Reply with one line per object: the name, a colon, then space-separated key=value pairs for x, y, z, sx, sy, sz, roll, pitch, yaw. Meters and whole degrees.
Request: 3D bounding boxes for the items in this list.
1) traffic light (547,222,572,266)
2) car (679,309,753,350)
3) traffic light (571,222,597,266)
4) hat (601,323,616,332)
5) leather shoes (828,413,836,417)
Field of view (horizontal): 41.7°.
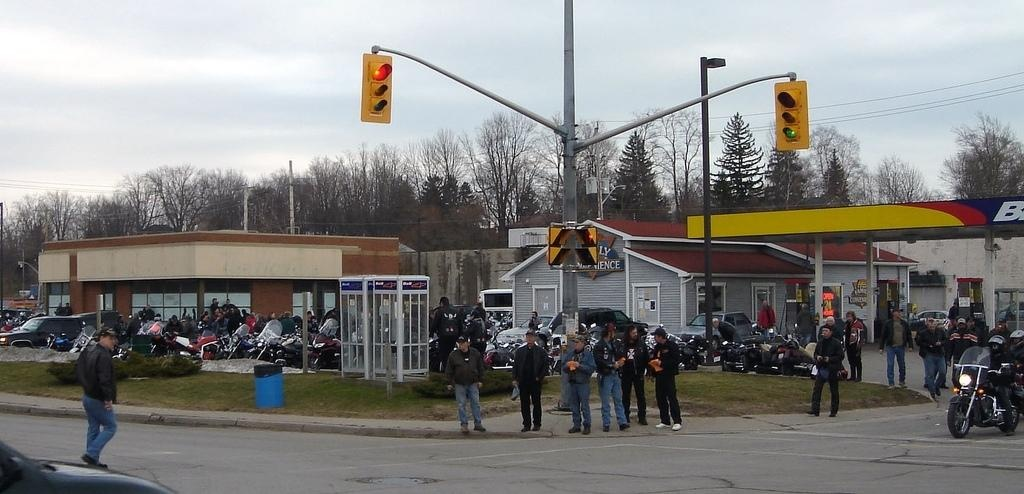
traffic light: x=2.802 y=-0.091 z=80.548 sx=1.210 sy=2.500 sz=0.511 roll=0 pitch=-5 yaw=1
car: x=14.220 y=5.560 z=93.521 sx=5.100 sy=1.498 sz=2.251 roll=3 pitch=-5 yaw=-41
traffic light: x=4.437 y=-0.067 z=80.531 sx=1.346 sy=2.456 sz=0.773 roll=2 pitch=-6 yaw=-20
hat: x=5.720 y=4.762 z=79.747 sx=0.736 sy=0.557 sz=0.506 roll=-18 pitch=21 yaw=-2
leather shoes: x=19.480 y=10.270 z=82.136 sx=0.421 sy=0.240 sz=0.280 roll=-1 pitch=-5 yaw=11
